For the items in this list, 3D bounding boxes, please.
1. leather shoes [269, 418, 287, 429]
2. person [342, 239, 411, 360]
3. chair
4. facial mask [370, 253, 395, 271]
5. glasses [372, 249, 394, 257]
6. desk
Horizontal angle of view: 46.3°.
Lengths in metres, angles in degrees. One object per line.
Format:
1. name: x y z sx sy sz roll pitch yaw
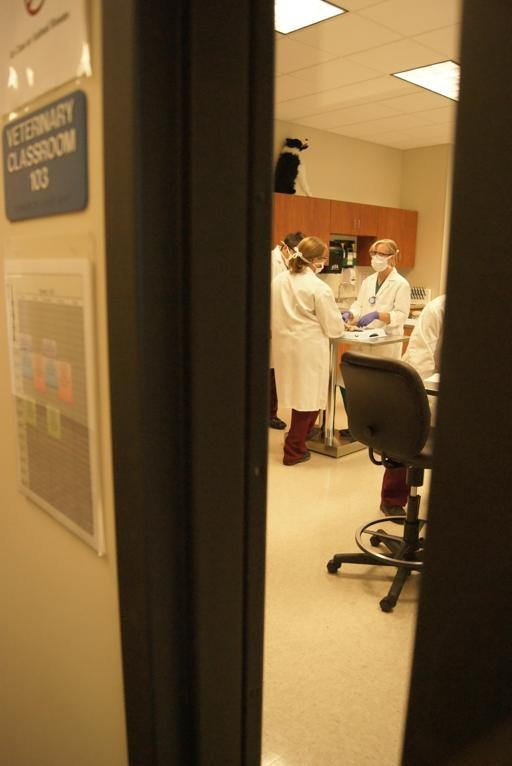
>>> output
1. leather shoes: 0.154 0.279 4.101 0.055 0.054 0.127 -3 3 -17
2. person: 0.861 -0.385 4.171 0.394 1.097 0.395 -12 17 -38
3. chair: 0.431 0.287 2.098 0.336 0.795 0.589 2 9 15
4. facial mask: 0.849 -0.818 4.043 0.101 0.121 0.079 3 37 37
5. glasses: 0.860 -0.863 4.044 0.150 0.042 0.095 4 11 20
6. desk: 0.475 0.064 3.692 0.773 0.675 0.835 -3 10 32
